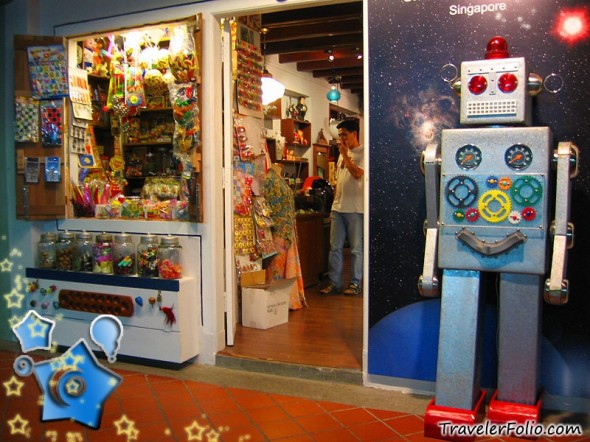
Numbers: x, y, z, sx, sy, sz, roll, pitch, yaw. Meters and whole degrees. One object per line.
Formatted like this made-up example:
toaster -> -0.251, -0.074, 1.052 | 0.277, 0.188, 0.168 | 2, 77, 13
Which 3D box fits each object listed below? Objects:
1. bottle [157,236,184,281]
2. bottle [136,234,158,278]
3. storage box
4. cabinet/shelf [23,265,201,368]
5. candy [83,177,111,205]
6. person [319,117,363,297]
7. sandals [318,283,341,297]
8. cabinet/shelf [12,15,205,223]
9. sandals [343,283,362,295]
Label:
bottle -> -1.083, 0.311, 4.304 | 0.206, 0.333, 0.305 | -4, 9, -10
bottle -> -1.277, 0.300, 4.322 | 0.192, 0.337, 0.176 | -2, 9, 0
storage box -> -0.282, 0.838, 5.157 | 0.369, 0.464, 0.489 | 1, -2, 24
cabinet/shelf -> -1.626, 0.794, 4.585 | 1.651, 0.787, 0.425 | 3, 11, 22
candy -> -1.933, -0.293, 4.873 | 0.204, 0.265, 0.079 | -7, -20, -34
person -> 0.572, -0.140, 6.054 | 0.542, 2.155, 0.653 | -1, 9, 3
sandals -> 0.468, 0.888, 6.388 | 0.314, 0.221, 0.113 | 3, -1, 6
cabinet/shelf -> -1.813, -0.974, 5.037 | 1.717, 1.669, 1.442 | -5, 11, -22
sandals -> 0.719, 0.859, 6.201 | 0.105, 0.112, 0.245 | -1, -5, 21
